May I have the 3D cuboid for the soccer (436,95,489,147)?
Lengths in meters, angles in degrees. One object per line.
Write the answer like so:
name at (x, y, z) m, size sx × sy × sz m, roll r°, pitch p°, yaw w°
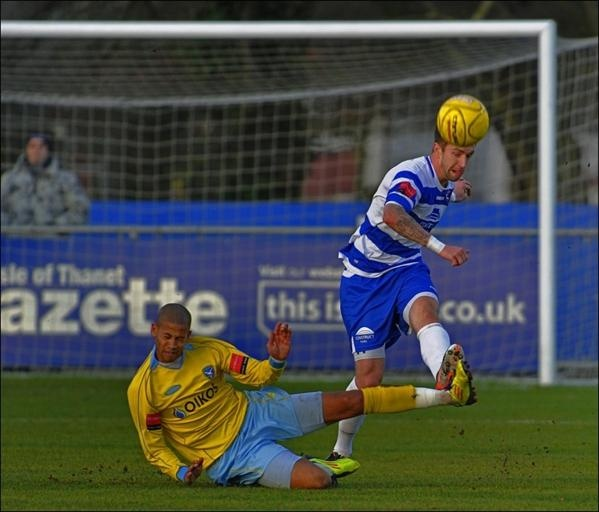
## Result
soccer at (1.314, -1.084, 11.030) m, size 0.409 × 0.404 × 0.243 m, roll 1°, pitch 10°, yaw 6°

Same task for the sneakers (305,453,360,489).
sneakers at (0.273, 1.726, 10.884) m, size 0.492 × 0.223 × 0.172 m, roll 14°, pitch -15°, yaw -3°

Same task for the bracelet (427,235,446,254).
bracelet at (1.085, -0.069, 10.782) m, size 0.152 × 0.102 × 0.074 m, roll 41°, pitch -17°, yaw 15°
